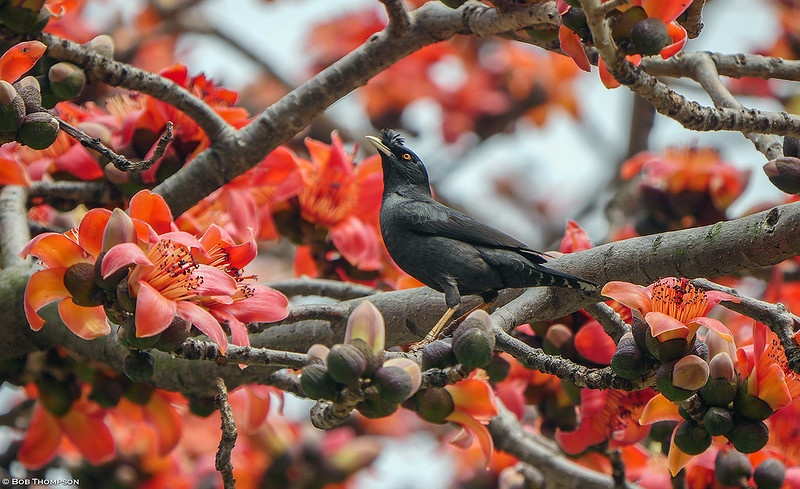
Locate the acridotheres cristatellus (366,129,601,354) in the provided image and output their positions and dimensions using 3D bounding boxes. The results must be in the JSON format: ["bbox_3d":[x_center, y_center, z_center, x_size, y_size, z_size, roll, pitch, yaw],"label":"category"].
[{"bbox_3d":[0.354,-0.010,4.740,1.138,0.373,0.814,13,-97,10],"label":"acridotheres cristatellus"}]
